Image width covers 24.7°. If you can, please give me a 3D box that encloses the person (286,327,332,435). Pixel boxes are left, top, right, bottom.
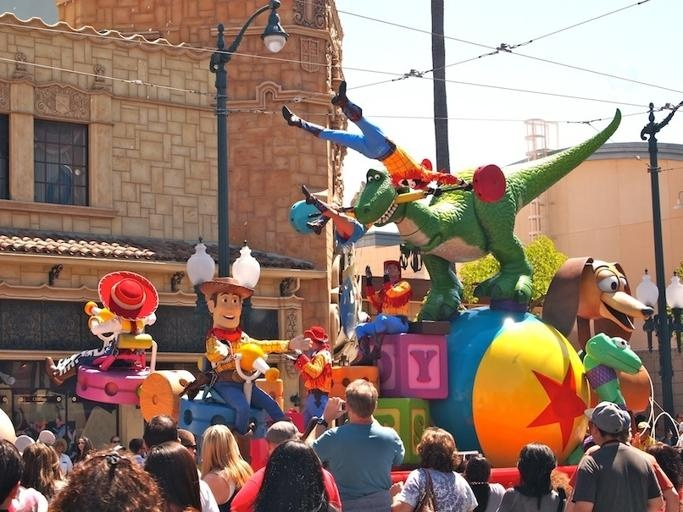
[{"bbox_3d":[-0.499,2.235,24.482,0.705,2.190,0.760,4,-6,-28],"label":"person"}]

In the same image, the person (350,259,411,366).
[{"bbox_3d":[0.636,0.849,24.476,0.886,1.699,1.340,0,-6,2],"label":"person"}]

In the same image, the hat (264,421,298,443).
[{"bbox_3d":[-0.768,2.258,20.120,0.424,0.291,0.403,2,-6,-9],"label":"hat"}]

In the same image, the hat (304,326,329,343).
[{"bbox_3d":[-0.431,1.197,24.853,0.295,0.112,0.277,11,-7,38],"label":"hat"}]

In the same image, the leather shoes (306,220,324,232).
[{"bbox_3d":[-0.387,-0.447,23.409,0.262,0.137,0.275,-19,-3,1],"label":"leather shoes"}]

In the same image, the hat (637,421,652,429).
[{"bbox_3d":[5.003,2.787,25.746,0.165,0.083,0.226,1,-10,-10],"label":"hat"}]

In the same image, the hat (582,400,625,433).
[{"bbox_3d":[3.467,2.025,20.391,0.627,0.325,0.469,13,21,30],"label":"hat"}]

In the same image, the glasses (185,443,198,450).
[{"bbox_3d":[-2.022,2.522,20.716,0.135,0.059,0.104,-3,-1,-8],"label":"glasses"}]
